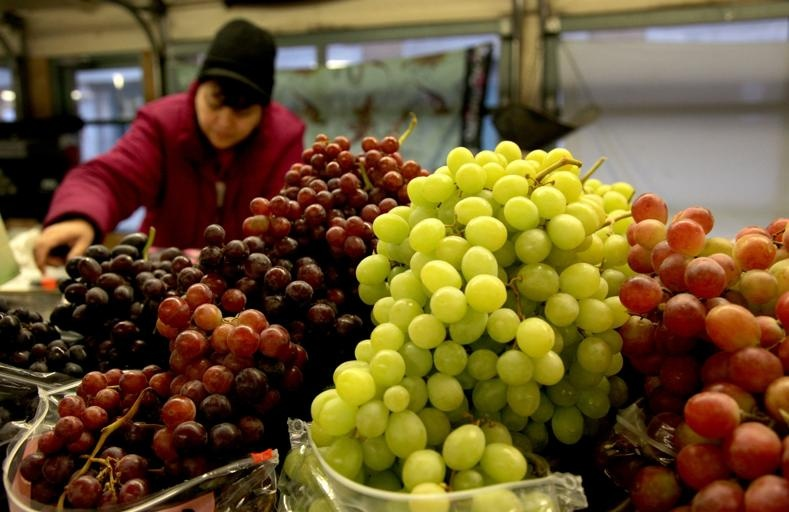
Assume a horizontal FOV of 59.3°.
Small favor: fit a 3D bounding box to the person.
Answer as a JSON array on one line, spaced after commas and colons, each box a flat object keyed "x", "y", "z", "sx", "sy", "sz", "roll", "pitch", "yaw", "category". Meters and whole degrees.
[{"x": -0.860, "y": -0.260, "z": 3.129, "sx": 1.166, "sy": 0.695, "sz": 1.637, "roll": -4, "pitch": -18, "yaw": -15, "category": "person"}]

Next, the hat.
[{"x": -0.531, "y": -0.743, "z": 2.535, "sx": 0.267, "sy": 0.208, "sz": 0.344, "roll": -1, "pitch": 26, "yaw": -30, "category": "hat"}]
